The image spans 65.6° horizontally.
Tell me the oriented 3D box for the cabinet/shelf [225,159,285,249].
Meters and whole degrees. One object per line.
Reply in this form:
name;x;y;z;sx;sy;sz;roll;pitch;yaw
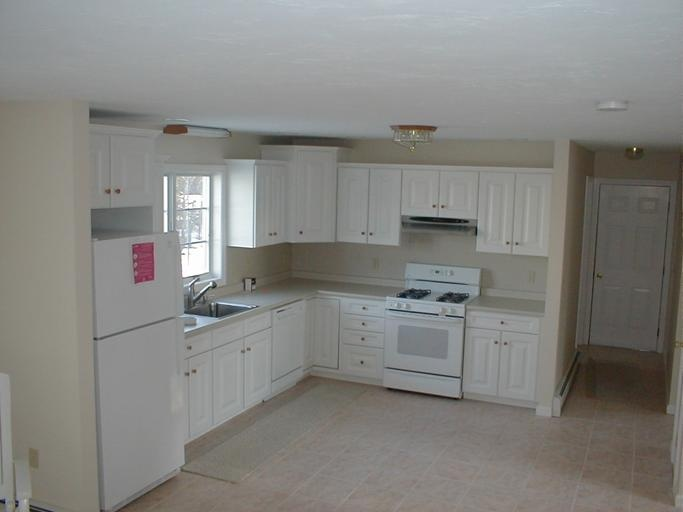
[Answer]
cabinet/shelf;-0.889;-0.579;5.848;0.717;0.937;0.321;-8;14;-41

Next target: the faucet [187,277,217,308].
faucet;-1.406;0.356;5.290;0.274;0.291;0.458;-1;10;-14

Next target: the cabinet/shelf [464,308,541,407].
cabinet/shelf;1.649;1.020;5.509;0.728;0.878;0.185;3;11;11

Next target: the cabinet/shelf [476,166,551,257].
cabinet/shelf;1.816;-0.478;5.621;0.718;0.875;0.170;3;11;10

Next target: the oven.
oven;1.056;1.029;5.958;0.971;0.920;0.746;1;-5;37

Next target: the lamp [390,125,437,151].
lamp;0.569;-0.974;4.238;0.398;0.178;0.369;-1;2;-1

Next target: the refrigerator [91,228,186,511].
refrigerator;-1.428;0.786;3.725;0.226;1.851;0.756;5;11;20

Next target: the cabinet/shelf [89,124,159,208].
cabinet/shelf;-1.712;-0.611;3.798;0.263;0.510;0.704;15;15;37

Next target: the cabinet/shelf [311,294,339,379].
cabinet/shelf;-0.176;0.889;6.163;0.343;0.845;0.092;5;12;19
